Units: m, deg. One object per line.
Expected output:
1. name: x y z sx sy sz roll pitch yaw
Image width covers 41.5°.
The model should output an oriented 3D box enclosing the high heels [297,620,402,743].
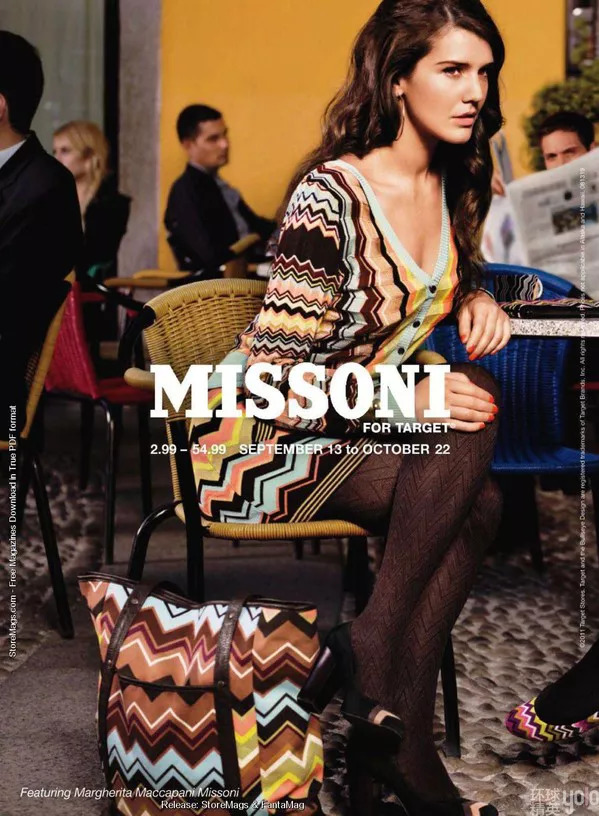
1. high heels: 0.062 0.299 0.839 0.056 0.105 0.132 -9 12 -39
